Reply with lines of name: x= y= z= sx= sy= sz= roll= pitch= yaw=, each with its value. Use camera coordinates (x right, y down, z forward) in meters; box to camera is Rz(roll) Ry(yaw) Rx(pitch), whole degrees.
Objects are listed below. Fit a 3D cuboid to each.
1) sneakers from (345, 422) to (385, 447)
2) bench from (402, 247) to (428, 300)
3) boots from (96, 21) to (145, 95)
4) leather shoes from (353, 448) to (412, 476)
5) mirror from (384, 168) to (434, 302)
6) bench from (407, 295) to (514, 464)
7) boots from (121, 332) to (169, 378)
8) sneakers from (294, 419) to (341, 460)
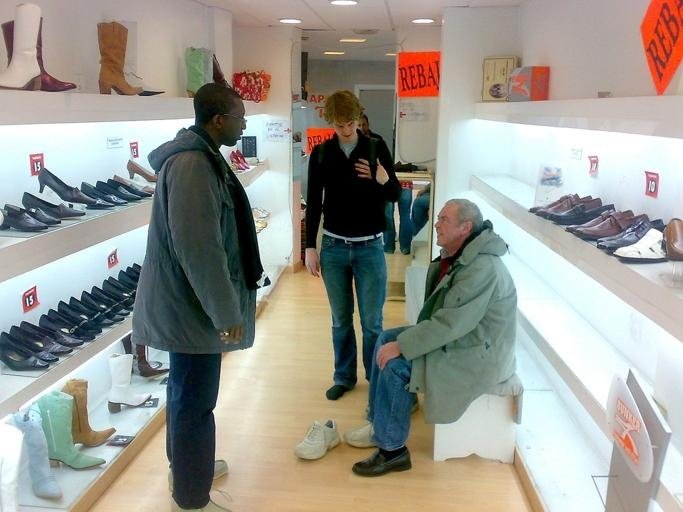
sneakers: x=0.136 y=1.080 z=3.042 sx=0.225 sy=0.103 sz=0.129 roll=4 pitch=6 yaw=8
bench: x=0.673 y=0.166 z=4.663 sx=0.148 sy=0.198 sz=0.513 roll=5 pitch=27 yaw=9
boots: x=-1.324 y=-1.175 z=3.007 sx=0.205 sy=0.431 sz=0.340 roll=0 pitch=12 yaw=2
leather shoes: x=0.225 y=1.161 z=2.864 sx=0.318 sy=0.131 sz=0.131 roll=-1 pitch=2 yaw=-9
mirror: x=0.650 y=-0.198 z=4.818 sx=0.466 sy=1.343 sz=1.255 roll=3 pitch=8 yaw=5
bench: x=0.732 y=0.908 z=3.011 sx=0.464 sy=0.436 sz=0.480 roll=0 pitch=5 yaw=2
boots: x=-1.336 y=0.731 z=3.483 sx=0.298 sy=0.232 sz=0.114 roll=-2 pitch=20 yaw=26
sneakers: x=-0.145 y=1.100 z=3.021 sx=0.148 sy=0.175 sz=0.382 roll=1 pitch=3 yaw=31
